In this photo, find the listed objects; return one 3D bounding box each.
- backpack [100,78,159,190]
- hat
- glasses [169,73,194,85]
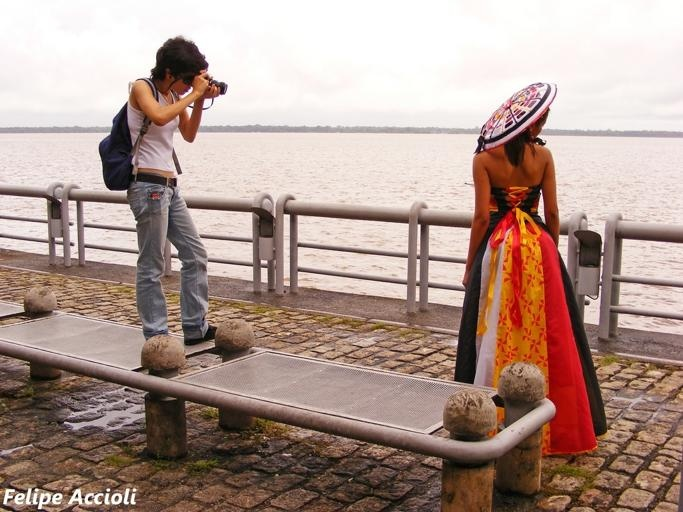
[{"bbox_3d":[-1.746,-0.854,5.304,0.411,0.686,0.293,11,16,41],"label":"backpack"},{"bbox_3d":[1.166,-0.918,4.487,0.497,0.465,0.255,3,12,10],"label":"hat"},{"bbox_3d":[-1.235,-1.394,5.298,0.100,0.086,0.032,2,0,23],"label":"glasses"}]
